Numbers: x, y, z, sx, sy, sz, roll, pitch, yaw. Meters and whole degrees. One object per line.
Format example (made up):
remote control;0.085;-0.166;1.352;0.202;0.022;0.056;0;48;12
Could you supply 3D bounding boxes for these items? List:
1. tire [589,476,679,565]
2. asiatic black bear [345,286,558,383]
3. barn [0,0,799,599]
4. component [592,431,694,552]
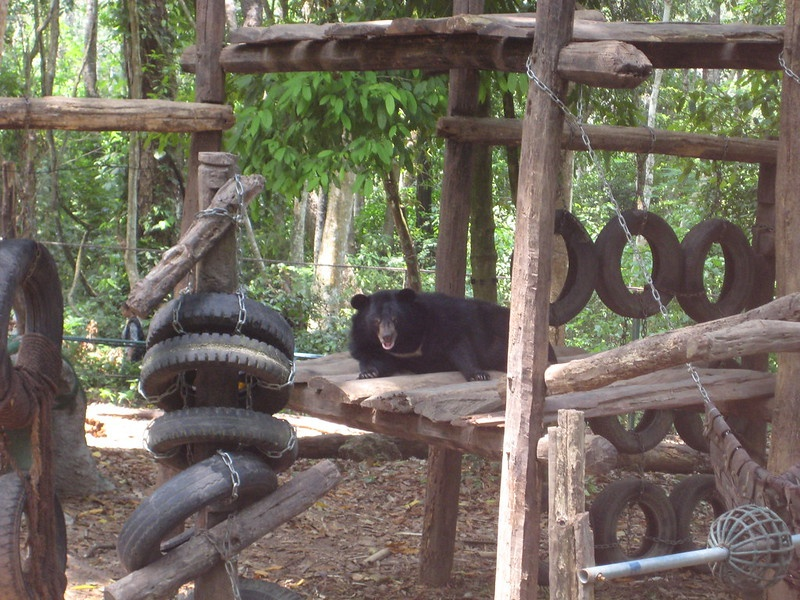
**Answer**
tire;2.326;2.206;11.268;0.833;0.922;0.299;-3;6;-31
asiatic black bear;0.261;0.307;11.549;1.441;0.552;1.057;11;-20;-44
barn;0.233;0.381;10.179;5.494;5.743;5.727;2;1;35
component;2.261;2.035;11.434;1.279;1.339;0.390;-3;-1;-27
